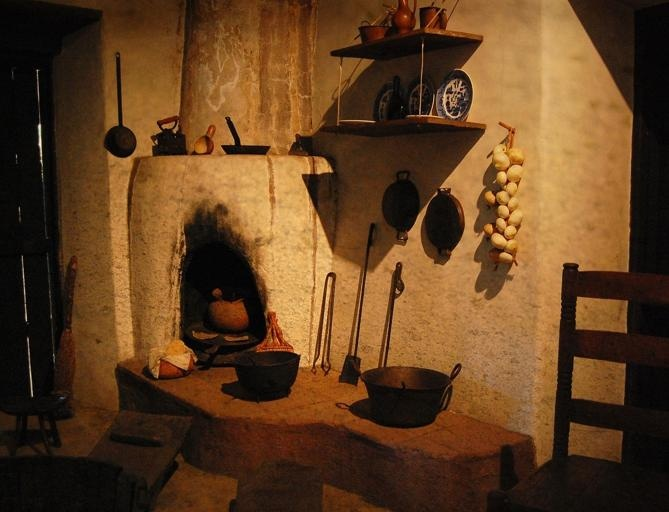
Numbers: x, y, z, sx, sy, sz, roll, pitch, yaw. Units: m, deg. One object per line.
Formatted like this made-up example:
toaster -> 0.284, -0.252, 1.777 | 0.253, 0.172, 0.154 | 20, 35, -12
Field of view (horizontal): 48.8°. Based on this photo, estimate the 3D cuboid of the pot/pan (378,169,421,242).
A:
pot/pan -> 0.391, -0.288, 4.306 | 0.066, 0.418, 0.272 | 0, 7, -37

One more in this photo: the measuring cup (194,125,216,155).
measuring cup -> -0.846, -0.753, 4.787 | 0.141, 0.205, 0.291 | 3, 6, -11

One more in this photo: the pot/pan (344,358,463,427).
pot/pan -> 0.496, 0.732, 3.963 | 0.456, 0.173, 0.320 | -1, 16, -31

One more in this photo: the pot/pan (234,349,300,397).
pot/pan -> -0.390, 0.684, 4.252 | 0.284, 0.195, 0.282 | 5, -7, -40

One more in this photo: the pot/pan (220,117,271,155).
pot/pan -> -0.567, -0.770, 4.751 | 0.312, 0.259, 0.287 | 4, 5, -6

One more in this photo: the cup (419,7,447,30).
cup -> 0.511, -1.236, 3.883 | 0.128, 0.111, 0.152 | -8, 16, -43

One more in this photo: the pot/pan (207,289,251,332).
pot/pan -> -0.714, 0.370, 4.952 | 0.252, 0.251, 0.261 | 0, 6, -12

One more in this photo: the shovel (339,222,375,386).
shovel -> 0.174, 0.384, 4.553 | 0.054, 0.834, 0.137 | 2, -17, 19

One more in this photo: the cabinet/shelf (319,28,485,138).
cabinet/shelf -> 0.307, -0.998, 4.168 | 0.342, 0.410, 0.806 | -26, 18, -34

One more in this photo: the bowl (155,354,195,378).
bowl -> -0.982, 0.693, 4.606 | 0.250, 0.146, 0.082 | 0, 7, -38
